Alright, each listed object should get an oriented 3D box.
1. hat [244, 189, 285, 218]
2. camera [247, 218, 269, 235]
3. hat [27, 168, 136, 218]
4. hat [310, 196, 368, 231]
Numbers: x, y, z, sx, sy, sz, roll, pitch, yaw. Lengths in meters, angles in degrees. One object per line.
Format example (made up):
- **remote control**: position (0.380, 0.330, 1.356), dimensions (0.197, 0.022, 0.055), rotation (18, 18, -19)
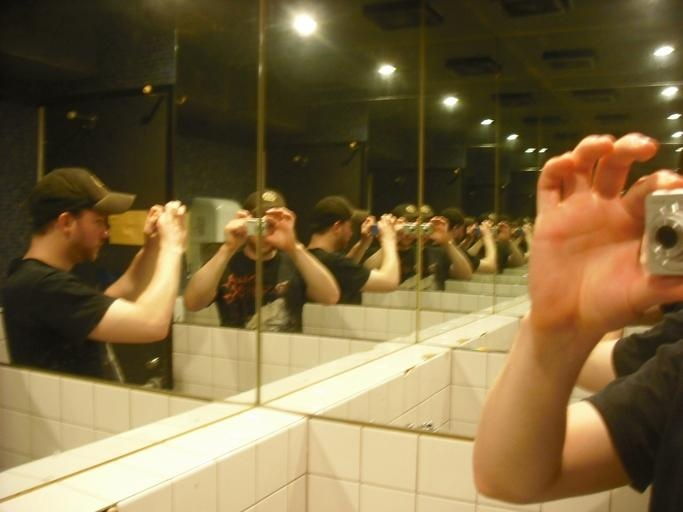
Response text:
- **hat**: position (-0.186, -0.122, 1.519), dimensions (0.068, 0.052, 0.078), rotation (-3, 2, -3)
- **camera**: position (-0.199, -0.072, 1.511), dimensions (0.061, 0.043, 0.034), rotation (-1, 10, -19)
- **hat**: position (-0.458, -0.111, 1.101), dimensions (0.106, 0.053, 0.067), rotation (-10, 17, -34)
- **hat**: position (-0.016, -0.109, 1.450), dimensions (0.091, 0.091, 0.071), rotation (-18, 6, 2)
